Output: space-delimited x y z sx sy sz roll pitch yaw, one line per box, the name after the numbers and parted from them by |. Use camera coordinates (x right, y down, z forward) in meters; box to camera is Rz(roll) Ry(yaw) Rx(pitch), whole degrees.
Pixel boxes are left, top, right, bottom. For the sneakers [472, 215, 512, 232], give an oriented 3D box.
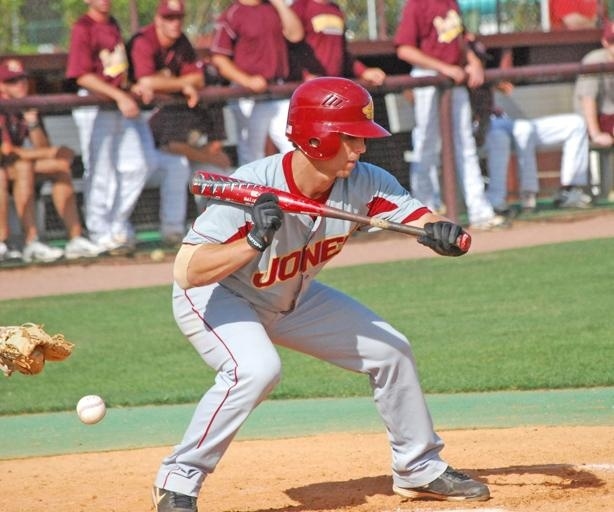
1.272 -0.219 8.519 0.327 0.118 0.101 1 -1 -9 | sneakers

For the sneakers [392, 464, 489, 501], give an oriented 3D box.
0.702 1.134 6.309 0.518 0.188 0.174 -2 -5 7 | sneakers

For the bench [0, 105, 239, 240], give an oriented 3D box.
-1.234 -0.517 7.852 0.932 0.772 0.309 2 12 -6 | bench

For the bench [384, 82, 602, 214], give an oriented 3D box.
1.335 -0.662 8.540 1.458 1.511 0.631 0 8 6 | bench

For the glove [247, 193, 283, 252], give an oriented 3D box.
-0.151 -0.150 5.765 0.088 0.238 0.191 12 16 -41 | glove

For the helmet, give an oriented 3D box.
0.116 -0.656 5.918 0.514 0.331 0.342 4 13 16 | helmet

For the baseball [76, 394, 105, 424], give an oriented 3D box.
-1.171 0.846 6.886 0.135 0.162 0.109 2 6 32 | baseball

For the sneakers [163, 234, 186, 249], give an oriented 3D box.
-0.836 -0.095 7.988 0.112 0.035 0.124 -1 14 -6 | sneakers

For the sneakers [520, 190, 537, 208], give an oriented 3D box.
1.528 -0.379 8.543 0.115 0.114 0.107 -2 12 -6 | sneakers

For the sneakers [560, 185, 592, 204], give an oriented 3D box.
1.833 -0.419 8.621 0.245 0.124 0.092 0 25 3 | sneakers
